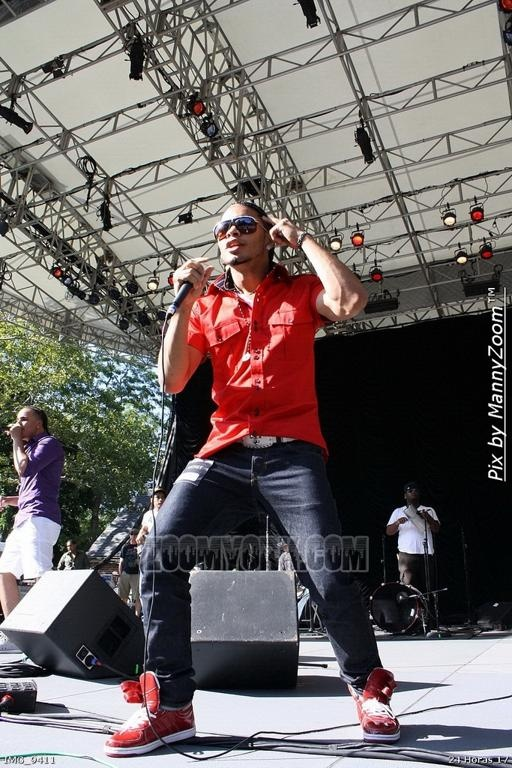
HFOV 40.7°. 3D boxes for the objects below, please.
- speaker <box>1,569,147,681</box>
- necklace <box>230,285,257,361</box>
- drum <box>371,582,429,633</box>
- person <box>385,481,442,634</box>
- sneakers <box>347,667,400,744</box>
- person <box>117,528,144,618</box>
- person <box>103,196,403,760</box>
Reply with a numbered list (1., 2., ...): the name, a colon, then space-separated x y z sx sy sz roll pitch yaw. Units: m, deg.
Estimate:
1. speaker: -0.782 1.026 3.059 0.566 0.472 0.536 3 -15 -40
2. necklace: -0.031 -0.180 2.112 0.079 0.193 0.024 0 -25 14
3. drum: 1.386 2.197 6.825 0.480 0.451 0.321 -12 -12 25
4. person: 1.683 1.778 7.196 0.616 1.468 0.632 8 -18 -29
5. sneakers: 0.333 0.855 1.837 0.103 0.106 0.293 -4 -3 5
6. person: -1.662 2.568 9.279 0.393 1.114 0.315 -2 -12 12
7. person: 0.050 0.176 1.994 0.700 1.583 0.366 1 -17 7
